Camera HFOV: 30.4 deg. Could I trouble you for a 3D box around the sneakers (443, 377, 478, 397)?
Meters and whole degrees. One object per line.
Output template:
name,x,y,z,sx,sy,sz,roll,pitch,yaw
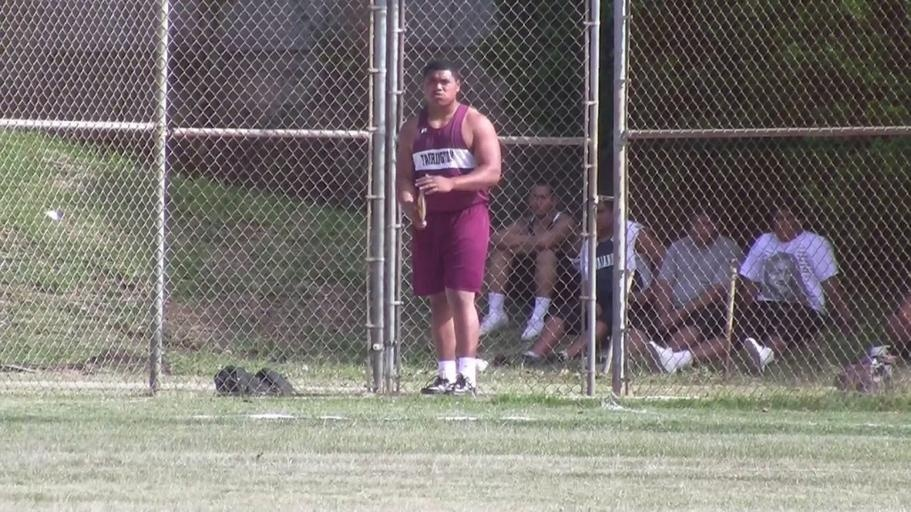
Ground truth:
sneakers,0.062,1.346,17.824,0.322,0.187,0.245,-1,7,-1

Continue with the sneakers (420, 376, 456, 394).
sneakers,-0.183,1.344,17.891,0.288,0.154,0.170,0,-3,20

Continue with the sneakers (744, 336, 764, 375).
sneakers,3.499,1.123,19.606,0.171,0.480,0.144,-15,-1,-39

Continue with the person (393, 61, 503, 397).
person,-0.056,-0.324,17.953,1.089,3.519,0.653,-1,5,-3
